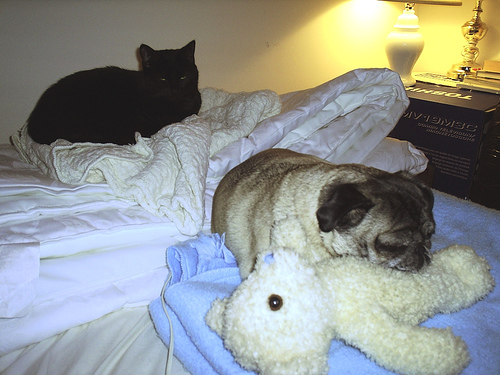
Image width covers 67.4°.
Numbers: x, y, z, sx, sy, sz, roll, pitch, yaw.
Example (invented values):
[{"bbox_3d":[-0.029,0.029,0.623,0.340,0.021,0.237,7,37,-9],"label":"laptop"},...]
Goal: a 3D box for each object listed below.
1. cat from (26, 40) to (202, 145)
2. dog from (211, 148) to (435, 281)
[{"bbox_3d":[-0.419,-0.299,1.409,0.596,0.329,0.365,-26,53,-23],"label":"cat"},{"bbox_3d":[0.156,0.071,0.977,0.491,0.308,0.288,32,31,28],"label":"dog"}]
